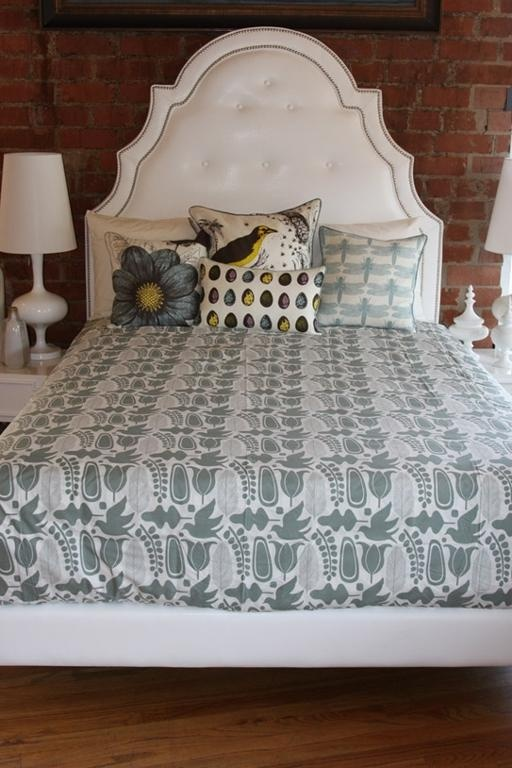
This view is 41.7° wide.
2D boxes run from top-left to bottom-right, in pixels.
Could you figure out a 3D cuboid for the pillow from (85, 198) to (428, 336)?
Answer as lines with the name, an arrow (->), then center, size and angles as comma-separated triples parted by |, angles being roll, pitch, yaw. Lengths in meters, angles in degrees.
pillow -> 0.001, -0.429, 2.503 | 0.828, 0.108, 0.512 | 0, 43, 0
